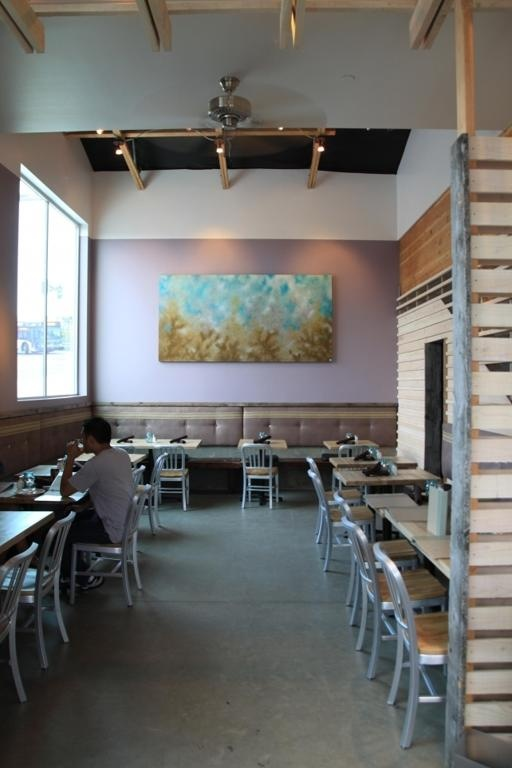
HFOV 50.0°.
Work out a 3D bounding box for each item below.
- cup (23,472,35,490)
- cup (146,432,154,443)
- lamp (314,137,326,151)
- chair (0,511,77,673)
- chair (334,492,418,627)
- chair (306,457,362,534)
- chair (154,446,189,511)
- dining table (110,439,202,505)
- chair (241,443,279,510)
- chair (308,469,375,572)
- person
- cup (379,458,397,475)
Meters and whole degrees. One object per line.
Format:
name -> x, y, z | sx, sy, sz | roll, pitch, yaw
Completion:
cup -> -1.632, 0.706, 3.979 | 0.088, 0.151, 0.098 | -2, 2, -20
cup -> -1.365, 0.690, 7.033 | 0.094, 0.145, 0.136 | -1, -22, 1
lamp -> 0.804, -3.020, 6.907 | 0.130, 0.247, 0.134 | 4, 14, 7
chair -> -1.198, 1.066, 2.930 | 0.388, 0.713, 0.410 | 2, 0, -2
chair -> 0.747, 1.094, 3.923 | 0.685, 1.034, 0.607 | -1, 3, -3
chair -> 0.744, 1.103, 4.763 | 0.521, 0.816, 0.462 | -5, 8, 2
chair -> -0.992, 1.068, 6.457 | 0.356, 0.761, 0.440 | 0, -1, -8
dining table -> -1.199, 1.064, 6.637 | 0.879, 0.886, 0.886 | 0, 7, 1
chair -> 0.056, 1.104, 6.896 | 0.459, 0.780, 1.352 | 0, -1, 2
chair -> 0.618, 1.165, 4.764 | 0.691, 1.097, 0.627 | -1, 4, 1
person -> -1.108, 0.860, 3.849 | 0.561, 1.230, 0.485 | 8, 5, 23
cup -> 1.183, 0.732, 4.858 | 0.164, 0.168, 0.168 | 7, -10, 1
